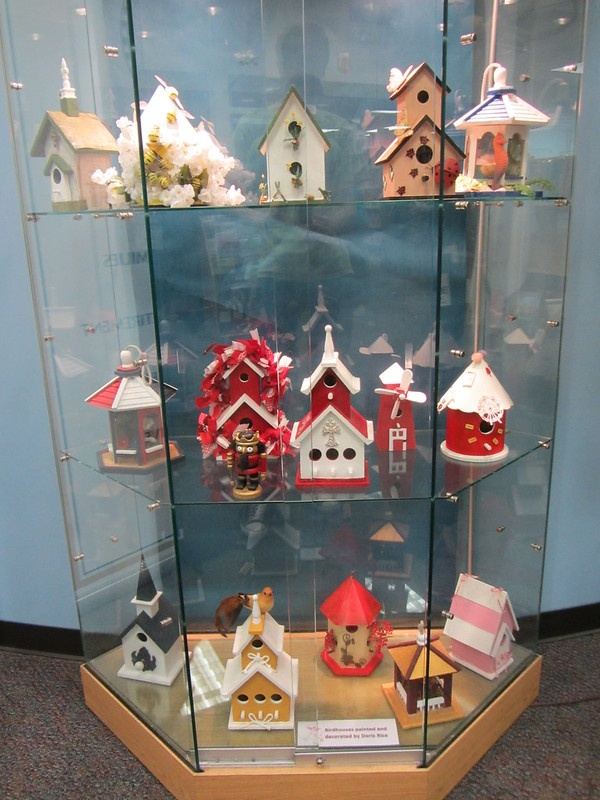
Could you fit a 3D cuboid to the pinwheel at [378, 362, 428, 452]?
[{"bbox_3d":[0.248,0.020,1.770,0.120,0.212,0.107,-1,11,-10],"label":"pinwheel"}]
